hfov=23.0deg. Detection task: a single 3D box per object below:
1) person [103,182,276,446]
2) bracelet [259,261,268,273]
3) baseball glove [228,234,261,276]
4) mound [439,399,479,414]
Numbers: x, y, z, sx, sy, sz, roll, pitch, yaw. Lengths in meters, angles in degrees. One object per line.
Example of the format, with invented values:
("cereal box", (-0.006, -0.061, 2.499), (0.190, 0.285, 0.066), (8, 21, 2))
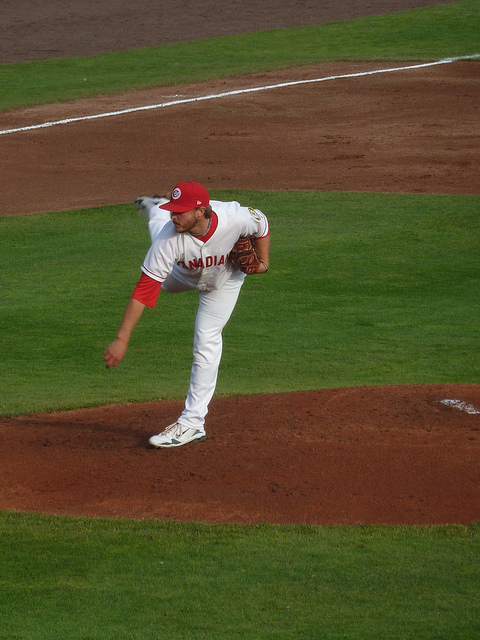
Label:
("person", (-0.291, -0.365, 7.470), (0.995, 1.283, 2.029), (-7, 45, -2))
("bracelet", (0.140, -0.338, 7.466), (0.018, 0.063, 0.064), (-31, 44, 11))
("baseball glove", (0.008, -0.385, 7.354), (0.178, 0.246, 0.103), (13, -24, -27))
("mound", (1.553, 0.582, 8.366), (0.258, 0.042, 0.087), (15, 19, 18))
